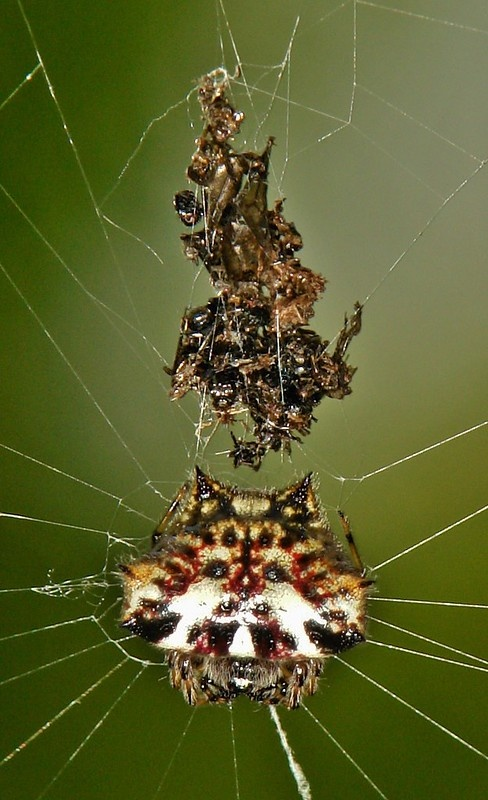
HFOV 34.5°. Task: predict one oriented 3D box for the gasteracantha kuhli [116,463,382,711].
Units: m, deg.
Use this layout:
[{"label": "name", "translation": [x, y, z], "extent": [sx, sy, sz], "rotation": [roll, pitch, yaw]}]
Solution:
[{"label": "gasteracantha kuhli", "translation": [0.009, 0.477, 2.009], "extent": [0.565, 0.234, 0.599], "rotation": [38, -80, -5]}]
